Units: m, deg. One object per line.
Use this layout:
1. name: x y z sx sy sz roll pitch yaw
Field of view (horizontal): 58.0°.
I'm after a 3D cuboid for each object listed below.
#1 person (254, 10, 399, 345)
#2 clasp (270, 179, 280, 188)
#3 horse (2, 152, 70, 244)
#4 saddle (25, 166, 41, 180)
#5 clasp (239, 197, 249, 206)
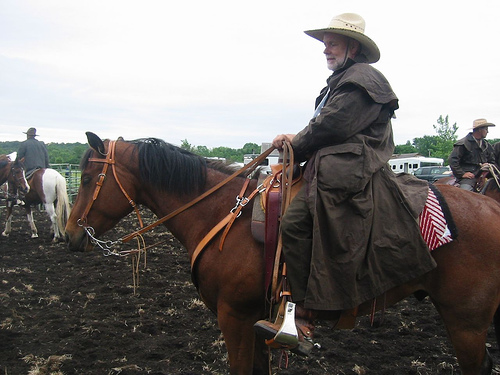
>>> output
1. person: 0.708 -0.178 3.988 0.773 2.799 1.386 9 12 39
2. clasp: 0.231 -0.039 4.026 0.066 0.062 0.015 1 -17 3
3. horse: -5.233 0.311 10.892 1.710 2.177 1.853 -3 13 -27
4. saddle: -5.131 -0.351 10.625 0.100 0.313 0.238 5 -11 4
5. clasp: -0.041 0.129 4.080 0.048 0.068 0.016 48 4 0
